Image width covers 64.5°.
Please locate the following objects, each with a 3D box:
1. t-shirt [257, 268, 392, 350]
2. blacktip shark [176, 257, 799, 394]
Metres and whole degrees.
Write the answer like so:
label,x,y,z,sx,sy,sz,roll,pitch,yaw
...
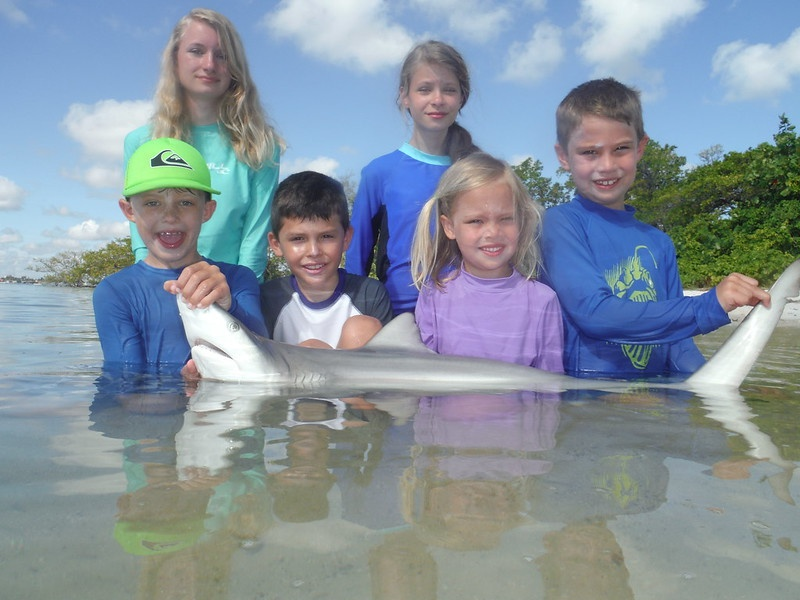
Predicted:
label,x,y,z,sx,sy,sz,roll,pitch,yaw
t-shirt,-0.528,0.082,4.408,0.589,0.421,0.207,-4,-3,-7
blacktip shark,0.459,0.167,3.942,2.473,0.598,0.647,4,8,-5
